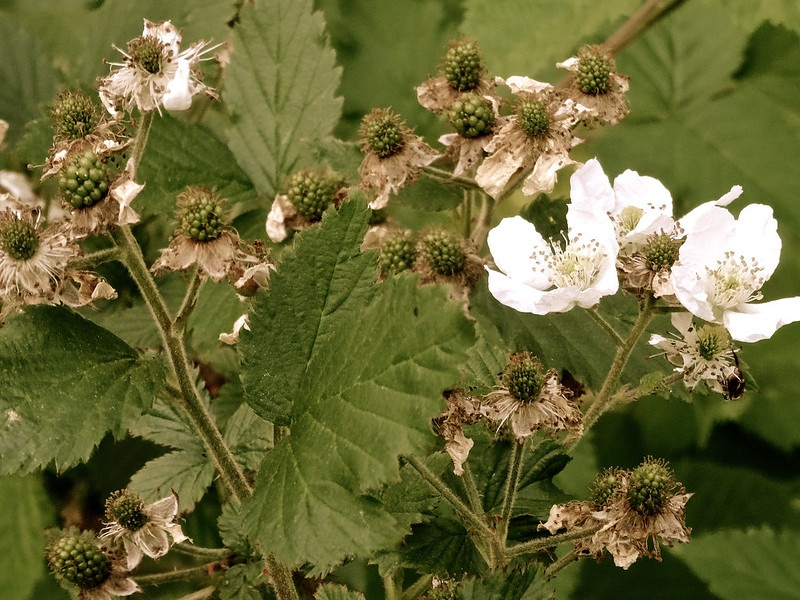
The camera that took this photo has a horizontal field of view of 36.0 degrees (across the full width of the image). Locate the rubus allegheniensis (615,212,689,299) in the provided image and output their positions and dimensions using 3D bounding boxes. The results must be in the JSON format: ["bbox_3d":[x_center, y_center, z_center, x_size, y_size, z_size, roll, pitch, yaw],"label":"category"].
[{"bbox_3d":[0.680,-0.132,3.366,0.172,0.104,0.219,18,66,4],"label":"rubus allegheniensis"}]

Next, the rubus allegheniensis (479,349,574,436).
[{"bbox_3d":[0.360,0.278,3.335,0.280,0.072,0.217,24,67,6],"label":"rubus allegheniensis"}]

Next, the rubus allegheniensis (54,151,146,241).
[{"bbox_3d":[-0.838,-0.294,3.348,0.189,0.123,0.245,-20,80,-4],"label":"rubus allegheniensis"}]

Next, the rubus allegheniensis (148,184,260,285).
[{"bbox_3d":[-0.533,-0.175,3.452,0.290,0.184,0.290,13,66,2],"label":"rubus allegheniensis"}]

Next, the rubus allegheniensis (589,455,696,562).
[{"bbox_3d":[0.658,0.559,3.358,0.259,0.229,0.186,-3,100,-34],"label":"rubus allegheniensis"}]

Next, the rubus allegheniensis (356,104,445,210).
[{"bbox_3d":[-0.035,-0.435,3.646,0.243,0.156,0.235,-30,71,-16],"label":"rubus allegheniensis"}]
